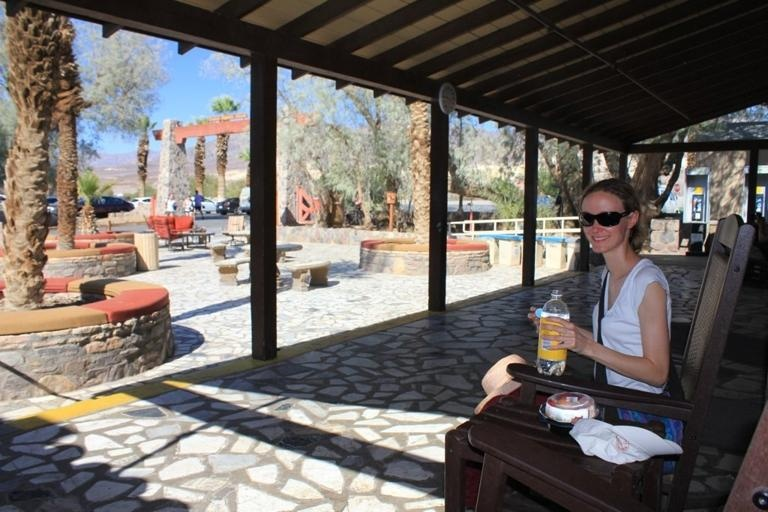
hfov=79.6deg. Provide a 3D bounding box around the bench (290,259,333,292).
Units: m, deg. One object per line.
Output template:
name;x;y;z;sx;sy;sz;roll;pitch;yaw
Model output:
bench;-1.616;0.401;10.212;0.726;0.571;1.075;0;9;4

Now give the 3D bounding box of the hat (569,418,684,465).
hat;1.043;0.804;2.024;0.340;0.102;0.217;-8;8;4

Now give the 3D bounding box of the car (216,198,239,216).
car;-11.638;-3.738;34.188;1.870;1.156;0.865;5;11;31

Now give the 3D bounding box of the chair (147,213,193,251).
chair;-7.987;-0.994;17.480;1.407;1.204;2.615;-4;9;-23

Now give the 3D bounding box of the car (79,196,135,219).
car;-17.529;-3.245;29.561;1.431;1.274;2.574;4;10;27
